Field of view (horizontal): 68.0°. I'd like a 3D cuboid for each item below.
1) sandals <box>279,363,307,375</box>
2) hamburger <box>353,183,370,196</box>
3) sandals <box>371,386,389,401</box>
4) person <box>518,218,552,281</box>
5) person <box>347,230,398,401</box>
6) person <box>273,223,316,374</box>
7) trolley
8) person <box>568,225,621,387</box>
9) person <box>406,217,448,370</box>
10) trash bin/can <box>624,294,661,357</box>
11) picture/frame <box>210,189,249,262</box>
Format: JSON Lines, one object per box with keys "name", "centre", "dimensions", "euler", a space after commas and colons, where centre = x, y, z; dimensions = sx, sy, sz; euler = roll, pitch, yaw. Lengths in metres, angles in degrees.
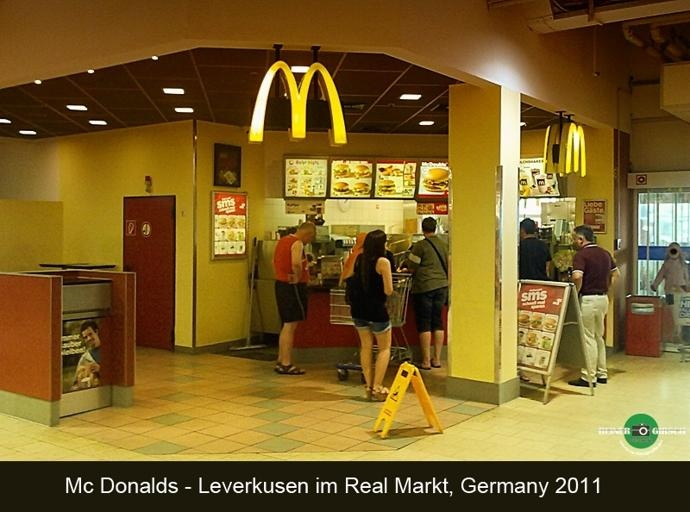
{"name": "sandals", "centre": [-0.751, 1.566, 7.110], "dimensions": [0.300, 0.105, 0.154], "euler": [0, -1, 2]}
{"name": "hamburger", "centre": [0.324, -1.210, 9.397], "dimensions": [0.278, 0.187, 0.215], "euler": [4, -6, -26]}
{"name": "sandals", "centre": [0.404, 1.592, 5.923], "dimensions": [0.135, 0.089, 0.245], "euler": [1, 4, 15]}
{"name": "person", "centre": [2.575, -0.092, 7.008], "dimensions": [0.396, 0.834, 0.498], "euler": [0, 3, 20]}
{"name": "person", "centre": [0.257, 0.700, 5.698], "dimensions": [0.473, 1.970, 0.582], "euler": [-1, 2, -1]}
{"name": "person", "centre": [-0.684, 0.579, 7.093], "dimensions": [0.555, 2.085, 0.349], "euler": [-1, 2, -8]}
{"name": "trolley", "centre": [0.376, 0.962, 7.214], "dimensions": [0.821, 1.334, 1.412], "euler": [-7, -7, 33]}
{"name": "person", "centre": [3.179, 0.652, 6.657], "dimensions": [0.522, 2.104, 1.285], "euler": [1, 3, 29]}
{"name": "person", "centre": [1.220, 0.532, 7.462], "dimensions": [0.478, 2.179, 0.698], "euler": [1, 3, 40]}
{"name": "trash bin/can", "centre": [4.982, 1.197, 8.619], "dimensions": [0.724, 0.906, 0.682], "euler": [8, -10, -2]}
{"name": "picture/frame", "centre": [-1.956, -0.518, 8.746], "dimensions": [0.088, 1.147, 0.713], "euler": [1, 3, 37]}
